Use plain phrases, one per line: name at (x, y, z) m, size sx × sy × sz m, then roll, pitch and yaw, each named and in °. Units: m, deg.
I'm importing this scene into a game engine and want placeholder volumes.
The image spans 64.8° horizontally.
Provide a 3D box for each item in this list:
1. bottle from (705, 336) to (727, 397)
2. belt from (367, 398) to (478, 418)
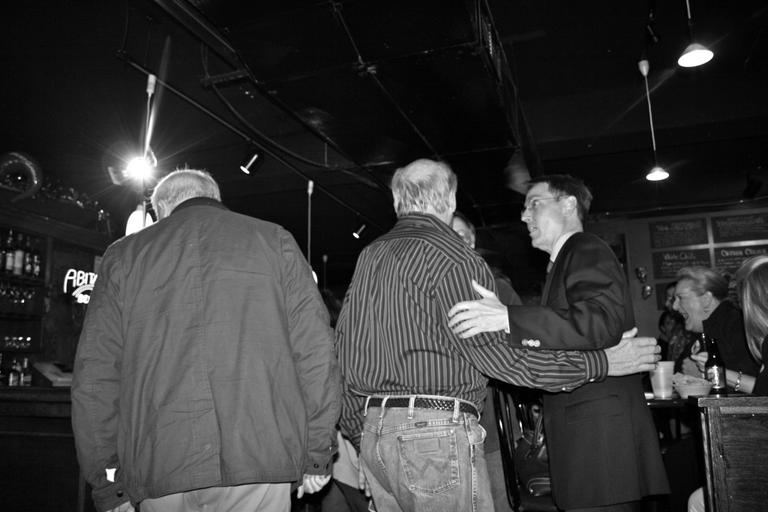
bottle at (2.152, 0.727, 3.908) m, size 0.103 × 0.392 × 0.104 m, roll 10°, pitch -37°, yaw 8°
belt at (0.178, 0.703, 2.826) m, size 0.518 × 0.102 × 0.126 m, roll -2°, pitch -13°, yaw 1°
